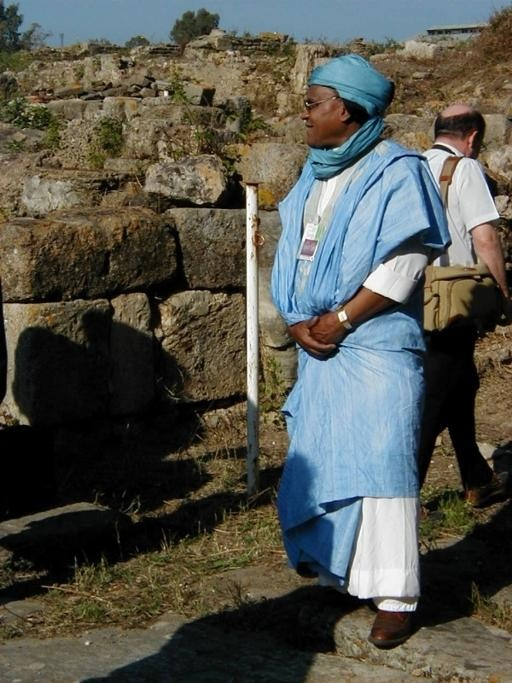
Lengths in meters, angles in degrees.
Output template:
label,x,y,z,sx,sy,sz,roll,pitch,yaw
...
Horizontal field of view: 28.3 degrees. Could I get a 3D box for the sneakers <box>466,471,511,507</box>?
label,x,y,z,sx,sy,sz,roll,pitch,yaw
sneakers,1.043,0.671,4.606,0.207,0.076,0.069,-29,41,-26

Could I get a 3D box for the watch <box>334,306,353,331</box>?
label,x,y,z,sx,sy,sz,roll,pitch,yaw
watch,0.293,-0.075,3.401,0.044,0.074,0.075,-31,-40,7

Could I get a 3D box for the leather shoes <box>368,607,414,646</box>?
label,x,y,z,sx,sy,sz,roll,pitch,yaw
leather shoes,0.455,0.948,3.387,0.074,0.073,0.187,3,1,30

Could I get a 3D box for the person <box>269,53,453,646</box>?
label,x,y,z,sx,sy,sz,roll,pitch,yaw
person,0.356,0.004,3.464,0.625,1.923,0.767,-3,14,3
